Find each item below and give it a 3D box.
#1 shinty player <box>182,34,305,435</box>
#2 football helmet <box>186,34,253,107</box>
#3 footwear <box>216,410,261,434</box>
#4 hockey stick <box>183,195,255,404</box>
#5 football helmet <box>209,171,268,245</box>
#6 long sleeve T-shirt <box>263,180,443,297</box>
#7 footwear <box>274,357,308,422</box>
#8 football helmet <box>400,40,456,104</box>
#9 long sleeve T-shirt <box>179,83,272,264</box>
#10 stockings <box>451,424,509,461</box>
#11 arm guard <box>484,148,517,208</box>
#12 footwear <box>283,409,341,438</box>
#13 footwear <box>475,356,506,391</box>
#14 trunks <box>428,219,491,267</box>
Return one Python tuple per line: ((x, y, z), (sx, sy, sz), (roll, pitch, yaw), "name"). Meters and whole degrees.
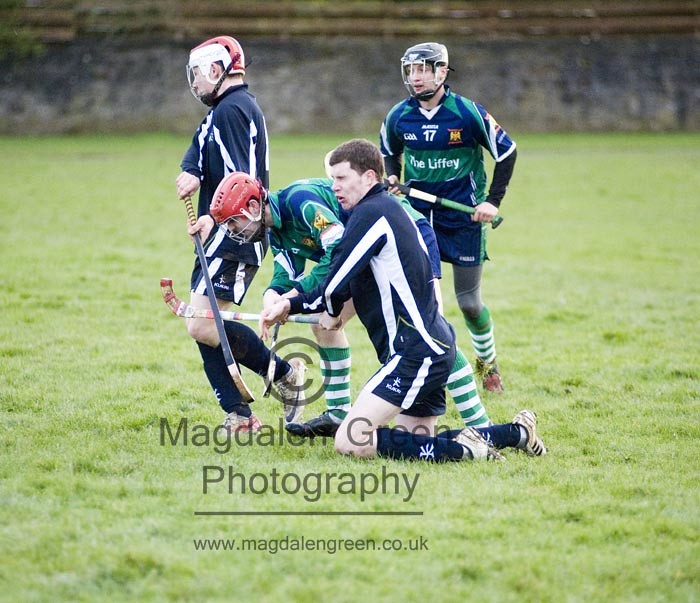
((-0.754, -0.432, 8.367), (1.191, 2.778, 0.950), (3, -3, -18), "shinty player")
((-0.894, -1.576, 8.143), (0.369, 0.465, 0.263), (-1, 6, -2), "football helmet")
((-0.727, 0.827, 8.091), (0.319, 0.140, 0.102), (1, 3, -9), "footwear")
((-0.983, -0.143, 8.626), (0.246, 0.210, 3.123), (-30, 29, 1), "hockey stick")
((-0.713, -0.621, 7.840), (0.374, 0.456, 0.255), (-2, 6, -12), "football helmet")
((0.031, -0.541, 8.077), (1.163, 0.611, 0.687), (-21, 3, -20), "long sleeve T-shirt")
((-0.386, 0.613, 8.392), (0.167, 0.457, 0.225), (-1, 1, 36), "footwear")
((0.550, -1.683, 8.752), (0.327, 0.423, 0.331), (0, 6, 3), "football helmet")
((-0.790, -0.889, 8.348), (0.660, 1.211, 0.864), (-1, 0, -16), "long sleeve T-shirt")
((0.814, 0.929, 7.683), (0.383, 0.170, 0.138), (42, -2, 6), "stockings")
((1.097, -0.918, 8.797), (0.144, 0.412, 0.103), (14, 12, 22), "arm guard")
((-0.220, 0.825, 7.989), (0.421, 0.162, 0.144), (0, -2, -6), "footwear")
((1.038, 0.529, 8.883), (0.108, 0.126, 0.305), (-21, 22, 5), "footwear")
((0.834, -0.465, 9.117), (0.334, 0.380, 0.563), (-4, 6, -19), "trunks")
